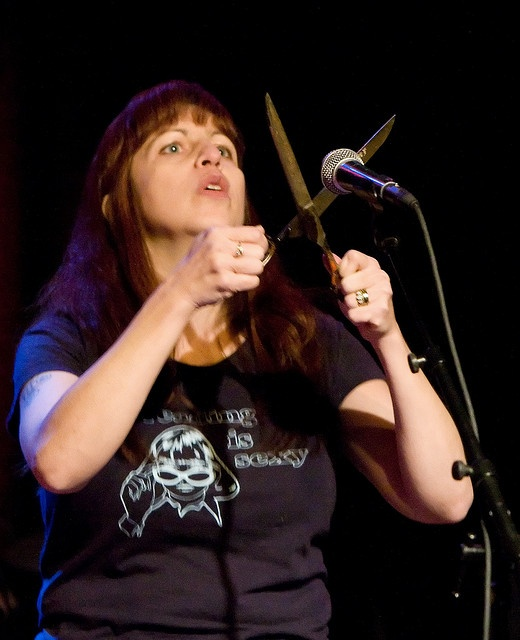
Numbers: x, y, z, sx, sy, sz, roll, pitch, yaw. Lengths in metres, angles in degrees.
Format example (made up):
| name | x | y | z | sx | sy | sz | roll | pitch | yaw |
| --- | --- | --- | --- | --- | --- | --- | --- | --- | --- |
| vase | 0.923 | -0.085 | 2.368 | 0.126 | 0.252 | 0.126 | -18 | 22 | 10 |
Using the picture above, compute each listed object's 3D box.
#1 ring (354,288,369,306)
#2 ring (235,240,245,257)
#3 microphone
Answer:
| name | x | y | z | sx | sy | sz | roll | pitch | yaw |
| --- | --- | --- | --- | --- | --- | --- | --- | --- | --- |
| ring | 0.171 | -0.036 | 1.262 | 0.027 | 0.027 | 0.022 | -14 | -7 | 2 |
| ring | -0.033 | -0.108 | 1.206 | 0.004 | 0.017 | 0.018 | 5 | 14 | 33 |
| microphone | 0.177 | -0.245 | 1.250 | 0.075 | 0.075 | 0.219 | -11 | 25 | -35 |
